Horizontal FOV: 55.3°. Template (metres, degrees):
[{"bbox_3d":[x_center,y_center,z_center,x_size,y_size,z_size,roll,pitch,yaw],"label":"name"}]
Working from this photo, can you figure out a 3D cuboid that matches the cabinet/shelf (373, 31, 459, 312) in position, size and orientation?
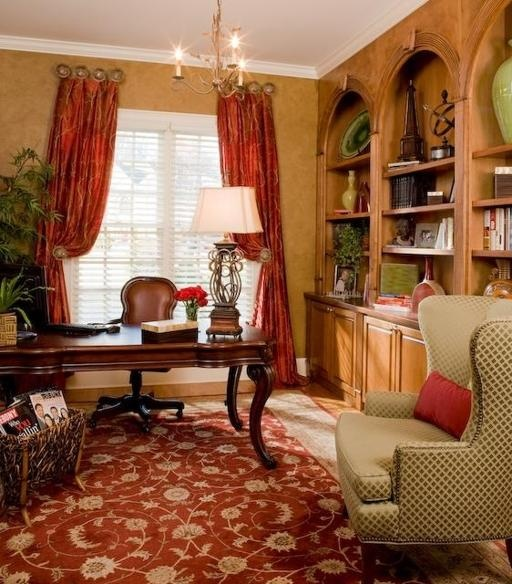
[{"bbox_3d":[1.248,-0.932,3.812,0.467,1.933,0.854,0,2,-7],"label":"cabinet/shelf"}]

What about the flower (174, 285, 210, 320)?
[{"bbox_3d":[-0.396,0.066,3.141,0.251,0.210,0.225,1,0,-4],"label":"flower"}]

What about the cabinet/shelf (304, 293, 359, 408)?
[{"bbox_3d":[0.726,0.556,4.594,0.426,0.865,1.027,0,4,-16],"label":"cabinet/shelf"}]

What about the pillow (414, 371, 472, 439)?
[{"bbox_3d":[0.822,0.498,2.124,0.105,0.188,0.332,13,2,-6],"label":"pillow"}]
